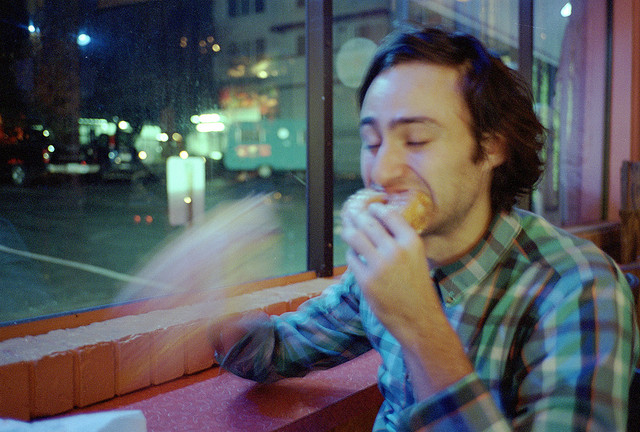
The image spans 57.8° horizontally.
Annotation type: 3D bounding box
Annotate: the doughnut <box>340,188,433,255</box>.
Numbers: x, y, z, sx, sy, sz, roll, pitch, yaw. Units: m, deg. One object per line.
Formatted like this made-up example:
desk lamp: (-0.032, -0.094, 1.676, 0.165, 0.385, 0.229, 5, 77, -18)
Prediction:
doughnut: (0.280, -0.061, 2.239, 0.261, 0.279, 0.092, -11, 34, -28)

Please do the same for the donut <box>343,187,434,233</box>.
donut: (0.273, -0.021, 2.235, 0.321, 0.162, 0.170, 0, 9, 17)
